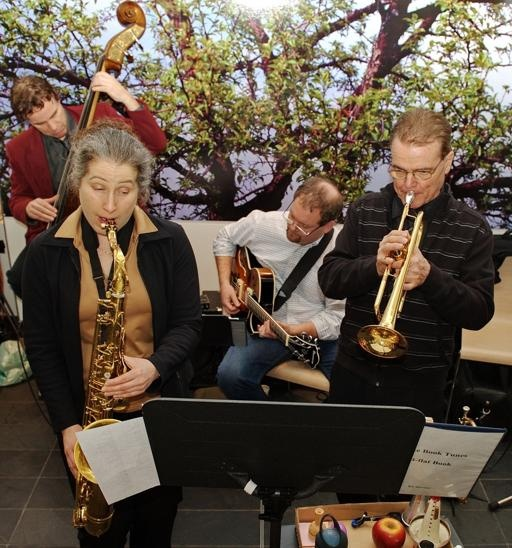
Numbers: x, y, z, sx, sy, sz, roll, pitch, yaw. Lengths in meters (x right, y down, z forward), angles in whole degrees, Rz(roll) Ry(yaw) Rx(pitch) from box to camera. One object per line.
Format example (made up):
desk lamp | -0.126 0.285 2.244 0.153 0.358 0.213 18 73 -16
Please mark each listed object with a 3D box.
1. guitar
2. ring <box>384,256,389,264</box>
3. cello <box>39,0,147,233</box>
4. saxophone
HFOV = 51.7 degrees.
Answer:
guitar | 0.087 0.291 3.410 0.489 0.697 0.321 8 28 -13
ring | 0.442 -0.044 1.788 0.006 0.021 0.011 -7 31 -17
cello | -0.899 -0.805 2.919 0.217 1.379 0.481 14 18 -45
saxophone | -0.486 0.354 1.654 0.193 0.997 0.513 -2 23 -10
